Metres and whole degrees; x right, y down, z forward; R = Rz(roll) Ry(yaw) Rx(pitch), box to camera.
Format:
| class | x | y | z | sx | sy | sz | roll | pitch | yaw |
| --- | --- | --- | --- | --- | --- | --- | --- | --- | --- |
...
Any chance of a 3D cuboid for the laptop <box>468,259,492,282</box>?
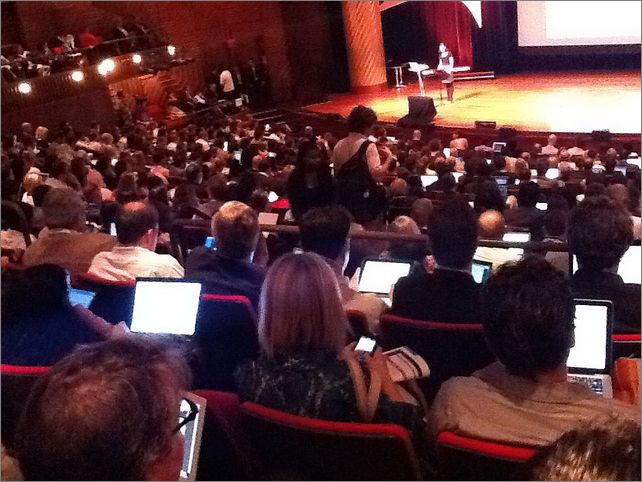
| class | x | y | z | sx | sy | sz | roll | pitch | yaw |
| --- | --- | --- | --- | --- | --- | --- | --- | --- | --- |
| laptop | 1.009 | 0.190 | 3.068 | 0.083 | 0.149 | 0.149 | 14 | -12 | -34 |

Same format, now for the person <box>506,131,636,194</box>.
| class | x | y | z | sx | sy | sz | roll | pitch | yaw |
| --- | --- | --- | --- | --- | --- | --- | --- | --- | --- |
| person | 4.430 | -1.378 | 8.431 | 1.612 | 0.410 | 1.513 | 15 | 23 | 41 |

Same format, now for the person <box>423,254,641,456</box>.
| class | x | y | z | sx | sy | sz | roll | pitch | yaw |
| --- | --- | --- | --- | --- | --- | --- | --- | --- | --- |
| person | 0.774 | 0.428 | 1.817 | 0.702 | 0.647 | 0.369 | 3 | 16 | 18 |

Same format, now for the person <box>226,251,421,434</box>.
| class | x | y | z | sx | sy | sz | roll | pitch | yaw |
| --- | --- | --- | --- | --- | --- | --- | --- | --- | --- |
| person | 0.237 | 0.446 | 2.161 | 0.627 | 0.698 | 1.257 | -2 | -25 | 19 |

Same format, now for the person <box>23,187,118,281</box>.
| class | x | y | z | sx | sy | sz | roll | pitch | yaw |
| --- | --- | --- | --- | --- | --- | --- | --- | --- | --- |
| person | -2.040 | -0.057 | 3.784 | 0.693 | 0.455 | 0.888 | -13 | 28 | -41 |

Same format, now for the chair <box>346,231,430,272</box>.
| class | x | y | z | sx | sy | sz | roll | pitch | yaw |
| --- | --- | --- | --- | --- | --- | --- | --- | --- | --- |
| chair | 0.594 | 0.047 | 4.156 | 0.613 | 0.427 | 0.339 | 1 | 31 | 6 |

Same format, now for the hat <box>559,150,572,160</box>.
| class | x | y | z | sx | sy | sz | roll | pitch | yaw |
| --- | --- | --- | --- | --- | --- | --- | --- | --- | --- |
| hat | 4.786 | -1.683 | 9.421 | 0.170 | 0.096 | 0.240 | -2 | 27 | 1 |

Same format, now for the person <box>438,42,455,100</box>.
| class | x | y | z | sx | sy | sz | roll | pitch | yaw |
| --- | --- | --- | --- | --- | --- | --- | --- | --- | --- |
| person | 4.199 | -5.664 | 16.177 | 0.493 | 1.834 | 1.427 | -2 | 19 | 15 |

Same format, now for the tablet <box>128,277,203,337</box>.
| class | x | y | z | sx | sy | sz | roll | pitch | yaw |
| --- | --- | --- | --- | --- | --- | --- | --- | --- | --- |
| tablet | -0.893 | 0.375 | 2.777 | 0.393 | 0.405 | 0.096 | 1 | -3 | 19 |

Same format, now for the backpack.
| class | x | y | z | sx | sy | sz | roll | pitch | yaw |
| --- | --- | --- | --- | --- | --- | --- | --- | --- | --- |
| backpack | 0.435 | -0.651 | 5.358 | 0.620 | 0.877 | 0.482 | 13 | 14 | 38 |

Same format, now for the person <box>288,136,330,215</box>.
| class | x | y | z | sx | sy | sz | roll | pitch | yaw |
| --- | --- | --- | --- | --- | --- | --- | --- | --- | --- |
| person | -0.115 | -0.610 | 4.928 | 0.481 | 0.804 | 0.320 | -8 | 18 | -4 |

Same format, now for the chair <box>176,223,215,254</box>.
| class | x | y | z | sx | sy | sz | roll | pitch | yaw |
| --- | --- | --- | --- | --- | --- | --- | --- | --- | --- |
| chair | -1.145 | -0.042 | 4.405 | 0.253 | 0.143 | 0.141 | -24 | -10 | 41 |

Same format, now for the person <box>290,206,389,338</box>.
| class | x | y | z | sx | sy | sz | roll | pitch | yaw |
| --- | --- | --- | --- | --- | --- | --- | --- | --- | --- |
| person | 0.015 | 0.164 | 3.220 | 0.443 | 0.851 | 0.973 | 5 | -3 | -22 |
